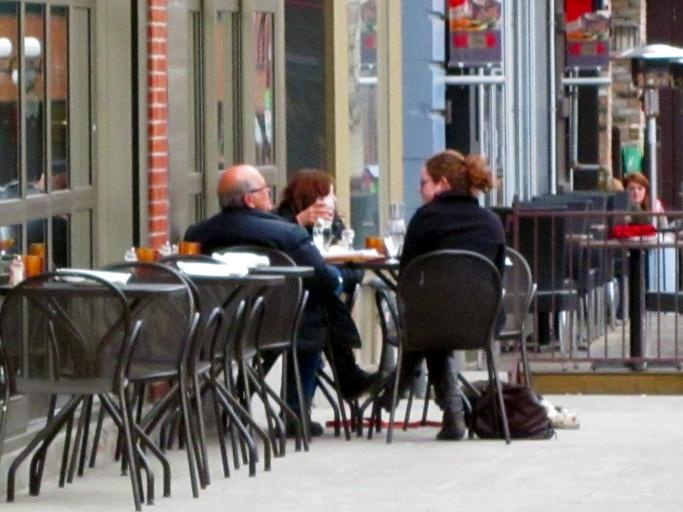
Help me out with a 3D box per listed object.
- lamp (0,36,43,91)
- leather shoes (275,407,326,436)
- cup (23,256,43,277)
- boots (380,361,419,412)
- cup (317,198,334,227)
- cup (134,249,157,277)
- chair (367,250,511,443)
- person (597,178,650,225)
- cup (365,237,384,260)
[{"bbox_3d":[-1.903,-1.150,9.485,0.080,0.280,0.271,-3,0,42],"label":"lamp"},{"bbox_3d":[-0.226,1.081,10.400,0.173,0.106,0.281,3,3,36],"label":"leather shoes"},{"bbox_3d":[-1.727,0.046,8.884,0.124,0.150,0.127,2,2,0],"label":"cup"},{"bbox_3d":[0.402,0.839,10.591,0.180,0.159,0.469,7,12,17],"label":"boots"},{"bbox_3d":[-0.104,-0.306,10.794,0.130,0.159,0.172,0,4,0],"label":"cup"},{"bbox_3d":[-1.123,0.025,9.149,0.120,0.146,0.340,-1,1,-7],"label":"cup"},{"bbox_3d":[0.684,0.487,10.047,0.962,1.611,1.093,0,13,1],"label":"chair"},{"bbox_3d":[2.777,-0.531,15.498,0.399,0.725,0.325,9,-21,-7],"label":"person"},{"bbox_3d":[0.239,-0.067,10.928,0.116,0.118,0.119,1,4,0],"label":"cup"}]
